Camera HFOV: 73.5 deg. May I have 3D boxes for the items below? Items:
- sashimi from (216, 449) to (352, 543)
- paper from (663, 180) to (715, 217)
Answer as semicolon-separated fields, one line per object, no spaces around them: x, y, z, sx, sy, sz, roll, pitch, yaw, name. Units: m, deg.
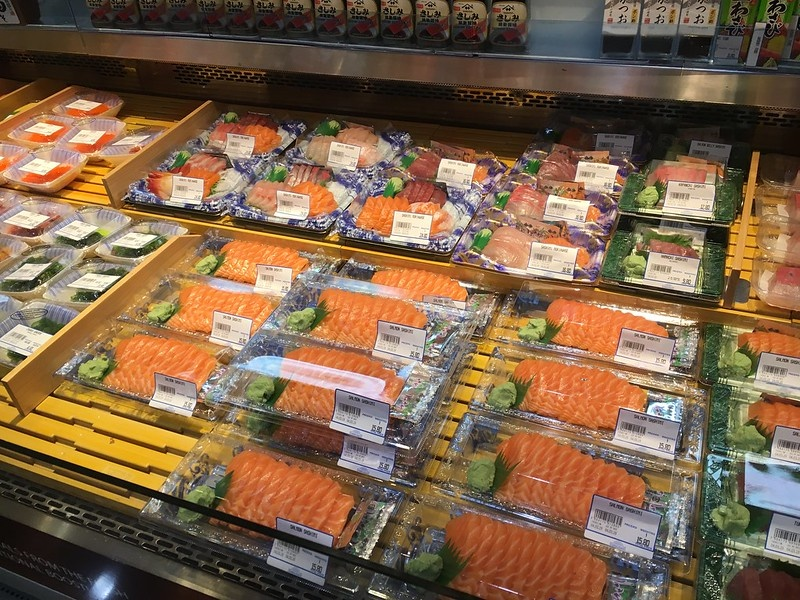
-0.451;0.755;2.112;0.560;0.075;0.268;8;40;13;sashimi
1.487;-0.516;2.754;0.229;0.110;0.172;14;42;19;paper
